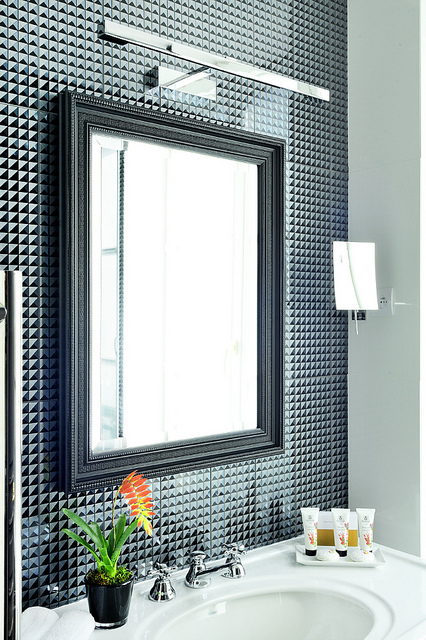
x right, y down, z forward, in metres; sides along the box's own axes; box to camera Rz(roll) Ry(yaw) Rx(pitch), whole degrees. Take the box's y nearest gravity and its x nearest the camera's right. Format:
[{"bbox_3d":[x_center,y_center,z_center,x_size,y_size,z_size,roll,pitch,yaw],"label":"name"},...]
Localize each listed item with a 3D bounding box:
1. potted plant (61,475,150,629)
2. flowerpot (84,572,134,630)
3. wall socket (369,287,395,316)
[{"bbox_3d":[-0.219,0.432,1.418,0.152,0.297,0.163,-9,-16,31],"label":"potted plant"},{"bbox_3d":[-0.186,0.511,1.360,0.069,0.077,0.083,1,-3,-17],"label":"flowerpot"},{"bbox_3d":[0.447,-0.053,1.952,0.006,0.076,0.063,2,-2,-32],"label":"wall socket"}]
